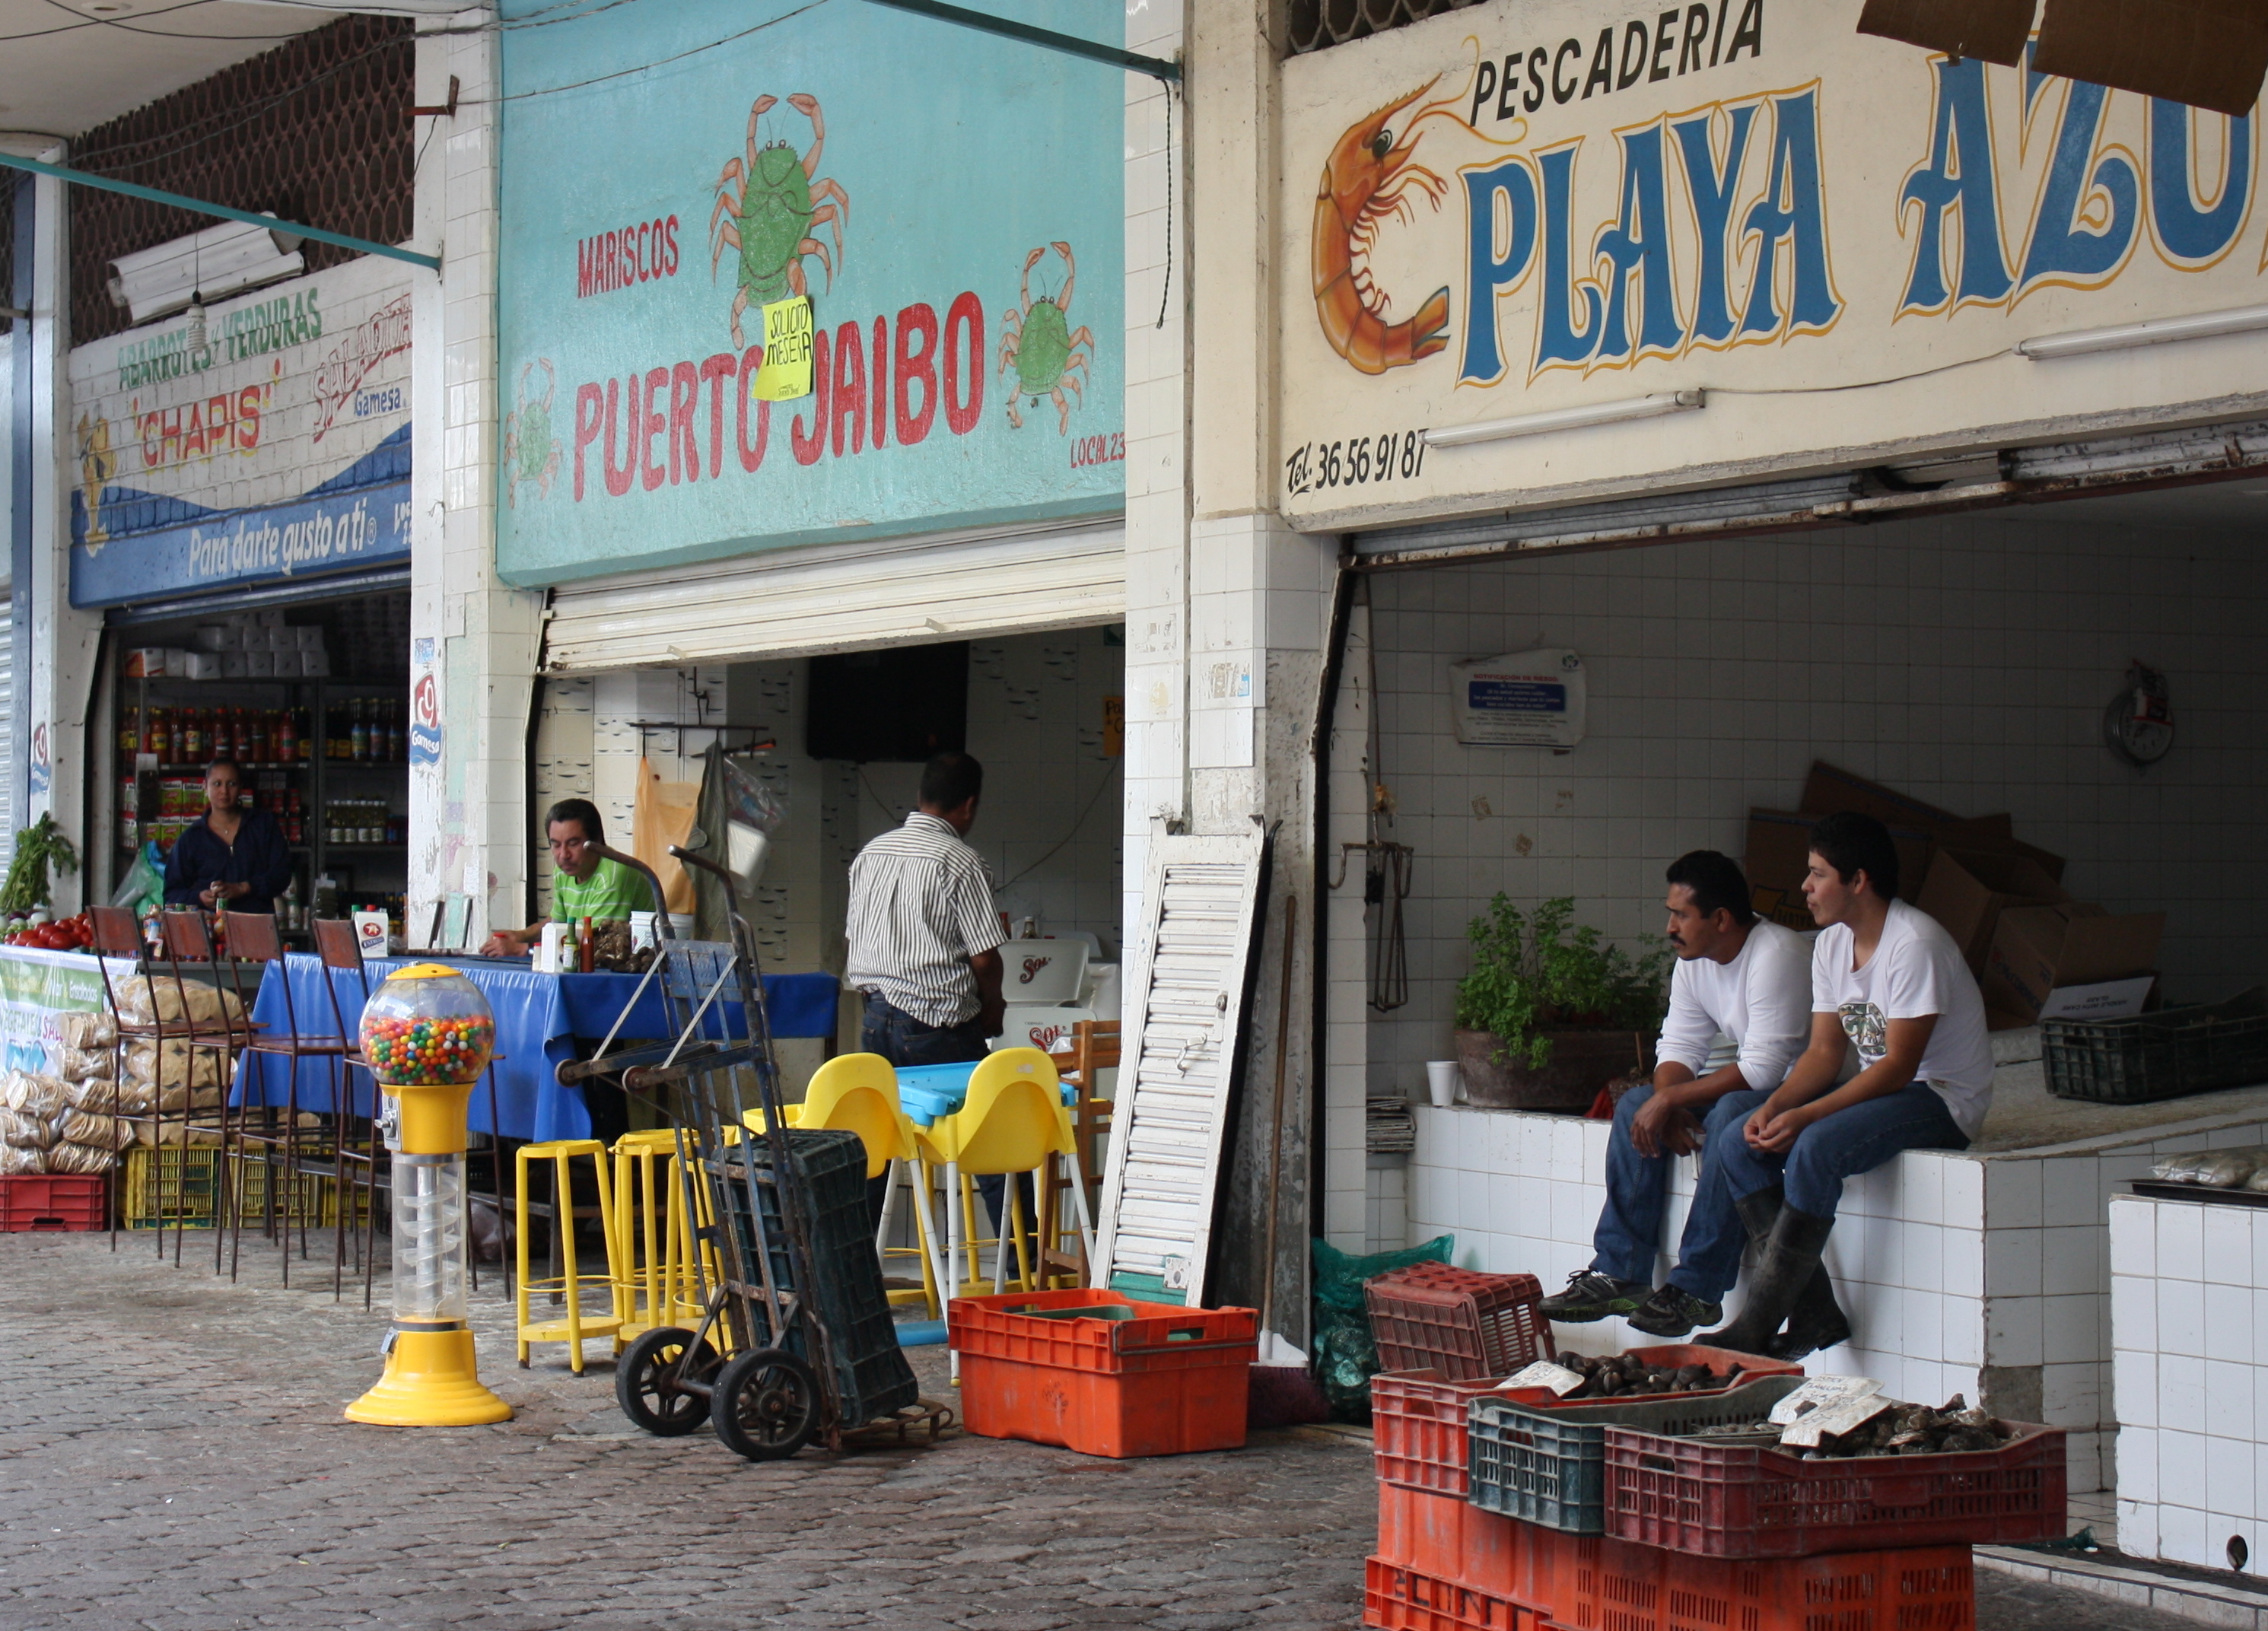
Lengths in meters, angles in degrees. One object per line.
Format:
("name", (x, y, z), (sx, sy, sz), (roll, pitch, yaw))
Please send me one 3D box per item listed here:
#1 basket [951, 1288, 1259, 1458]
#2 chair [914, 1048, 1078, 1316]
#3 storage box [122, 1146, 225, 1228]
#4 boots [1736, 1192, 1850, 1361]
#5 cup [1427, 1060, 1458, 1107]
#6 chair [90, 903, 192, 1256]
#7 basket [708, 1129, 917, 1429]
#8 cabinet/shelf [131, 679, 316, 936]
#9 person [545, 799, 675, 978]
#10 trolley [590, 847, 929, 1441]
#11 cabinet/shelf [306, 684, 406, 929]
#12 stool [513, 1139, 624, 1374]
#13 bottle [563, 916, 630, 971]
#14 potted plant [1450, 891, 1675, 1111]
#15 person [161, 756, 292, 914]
("basket", (-0.163, 1.844, 8.442), (0.542, 0.433, 0.831), (6, -4, -42))
("chair", (-0.524, 1.373, 9.249), (0.578, 0.962, 0.641), (-1, -3, -16))
("storage box", (-5.163, 1.959, 12.957), (0.442, 0.494, 0.435), (1, 3, -9))
("boots", (2.074, 1.552, 7.839), (0.243, 0.591, 0.481), (18, 1, 36))
("cup", (1.229, 1.063, 9.589), (0.111, 0.149, 0.143), (1, -9, 0))
("chair", (-5.162, 1.327, 12.791), (0.478, 1.596, 0.638), (-3, 5, 25))
("basket", (-1.092, 1.580, 8.218), (0.696, 1.042, 0.372), (1, -2, -10))
("cabinet/shelf", (-6.536, 0.309, 17.558), (0.834, 2.889, 1.335), (-5, -1, -21))
("person", (-2.699, 0.371, 11.984), (0.447, 0.936, 0.563), (1, 10, 36))
("trolley", (-1.218, 1.166, 8.414), (0.897, 1.975, 0.838), (-5, -1, -19))
("cabinet/shelf", (-5.942, -0.087, 18.368), (0.403, 1.919, 0.794), (-14, 6, -24))
("stool", (-2.326, 1.774, 9.841), (0.498, 0.912, 0.522), (1, -11, -21))
("bottle", (-2.537, 0.604, 11.391), (0.275, 0.316, 0.163), (5, -16, -15))
("potted plant", (1.665, 0.841, 9.647), (0.788, 0.855, 0.845), (4, -11, -14))
("person", (-5.806, 0.259, 15.407), (0.766, 1.273, 0.639), (-1, -6, -29))
